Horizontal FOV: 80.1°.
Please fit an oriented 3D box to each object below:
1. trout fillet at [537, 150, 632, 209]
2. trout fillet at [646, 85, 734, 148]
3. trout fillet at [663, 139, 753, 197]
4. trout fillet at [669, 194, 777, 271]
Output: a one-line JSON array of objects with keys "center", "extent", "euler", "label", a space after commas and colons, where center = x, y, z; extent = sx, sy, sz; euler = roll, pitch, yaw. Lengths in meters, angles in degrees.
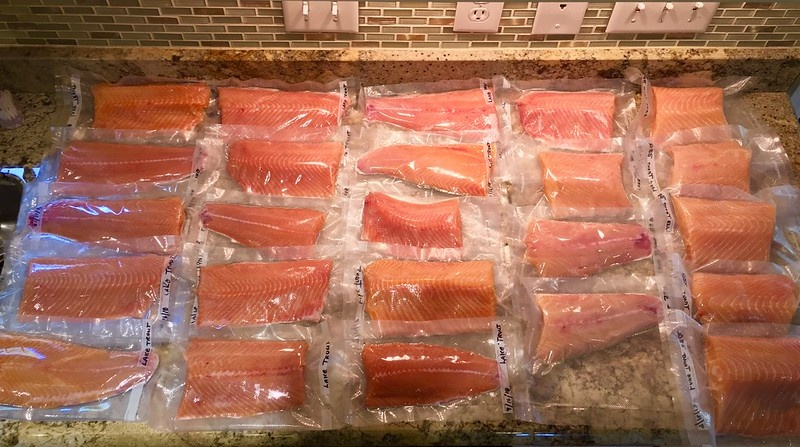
[{"center": [1.000, -0.241, 2.580], "extent": [0.453, 0.084, 0.329], "euler": [-2, 66, -1], "label": "trout fillet"}, {"center": [1.622, -0.615, 2.684], "extent": [0.413, 0.089, 0.320], "euler": [1, 66, 0], "label": "trout fillet"}, {"center": [1.684, -0.319, 2.596], "extent": [0.430, 0.070, 0.283], "euler": [2, 66, 0], "label": "trout fillet"}, {"center": [1.690, 0.055, 2.489], "extent": [0.520, 0.107, 0.380], "euler": [5, 66, 2], "label": "trout fillet"}]
